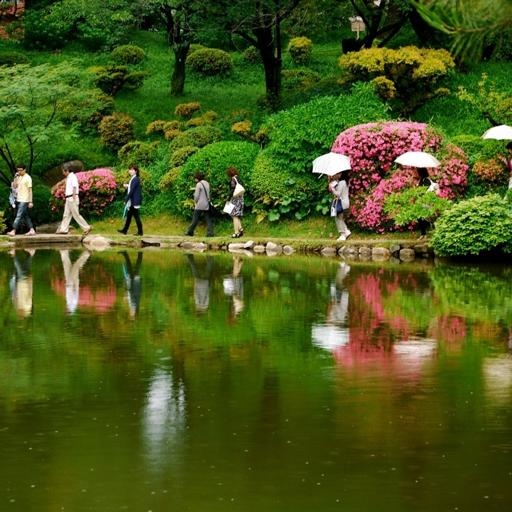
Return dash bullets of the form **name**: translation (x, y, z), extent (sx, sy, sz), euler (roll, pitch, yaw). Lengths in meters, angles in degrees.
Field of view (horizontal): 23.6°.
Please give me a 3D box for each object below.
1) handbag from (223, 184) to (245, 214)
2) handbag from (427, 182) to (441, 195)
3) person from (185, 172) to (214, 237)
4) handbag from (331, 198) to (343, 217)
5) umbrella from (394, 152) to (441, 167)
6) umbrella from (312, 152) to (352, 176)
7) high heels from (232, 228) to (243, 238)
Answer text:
- **handbag**: translation (-0.493, -1.279, 27.455), extent (0.466, 0.698, 0.431), euler (0, 6, -1)
- **handbag**: translation (3.639, -1.395, 24.938), extent (0.160, 0.314, 0.280), euler (-14, 8, -8)
- **person**: translation (-1.296, -1.212, 28.275), extent (0.584, 1.563, 1.916), euler (-1, 7, -3)
- **handbag**: translation (1.723, -1.035, 25.847), extent (0.137, 0.372, 0.312), euler (5, -11, -31)
- **umbrella**: translation (3.290, -1.938, 24.804), extent (0.874, 0.318, 0.785), euler (1, 7, 7)
- **umbrella**: translation (1.612, -1.956, 25.918), extent (0.812, 0.392, 1.171), euler (-3, 8, -22)
- **high heels**: translation (-0.383, -0.526, 27.806), extent (0.299, 0.157, 0.111), euler (-16, -8, 4)
